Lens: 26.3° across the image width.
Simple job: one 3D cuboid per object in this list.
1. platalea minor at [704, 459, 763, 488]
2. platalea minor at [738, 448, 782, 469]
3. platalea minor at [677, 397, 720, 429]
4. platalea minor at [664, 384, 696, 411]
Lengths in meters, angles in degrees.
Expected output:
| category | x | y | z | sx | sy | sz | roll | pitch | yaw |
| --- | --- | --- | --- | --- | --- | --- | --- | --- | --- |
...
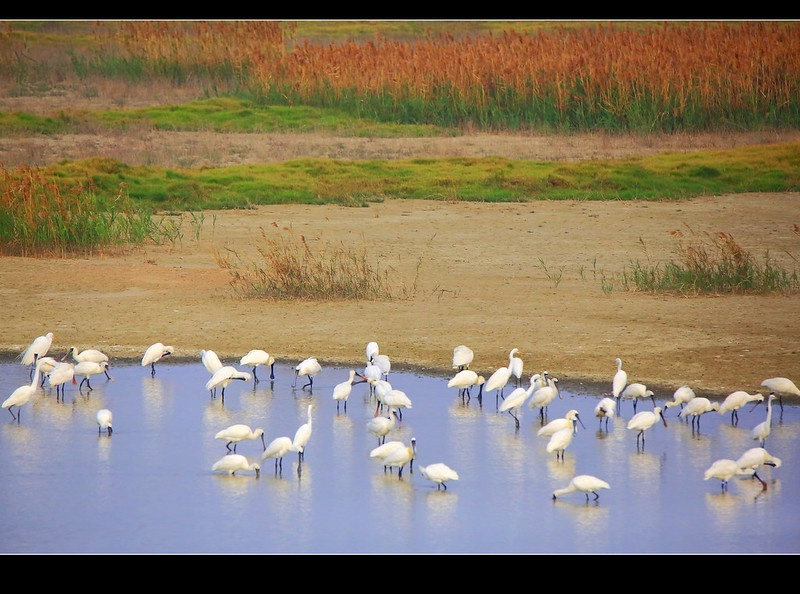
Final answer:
| category | x | y | z | sx | sy | sz | roll | pitch | yaw |
| --- | --- | --- | --- | --- | --- | --- | --- | --- | --- |
| platalea minor | 6.232 | 3.168 | 32.052 | 1.020 | 0.531 | 0.462 | -1 | 9 | -4 |
| platalea minor | 6.812 | 2.934 | 32.259 | 0.855 | 0.502 | 0.383 | -1 | 10 | -4 |
| platalea minor | 5.898 | 2.194 | 33.627 | 0.670 | 0.575 | 0.659 | -3 | 6 | -20 |
| platalea minor | 5.596 | 1.952 | 33.912 | 0.653 | 0.341 | 0.340 | -39 | 32 | -13 |
